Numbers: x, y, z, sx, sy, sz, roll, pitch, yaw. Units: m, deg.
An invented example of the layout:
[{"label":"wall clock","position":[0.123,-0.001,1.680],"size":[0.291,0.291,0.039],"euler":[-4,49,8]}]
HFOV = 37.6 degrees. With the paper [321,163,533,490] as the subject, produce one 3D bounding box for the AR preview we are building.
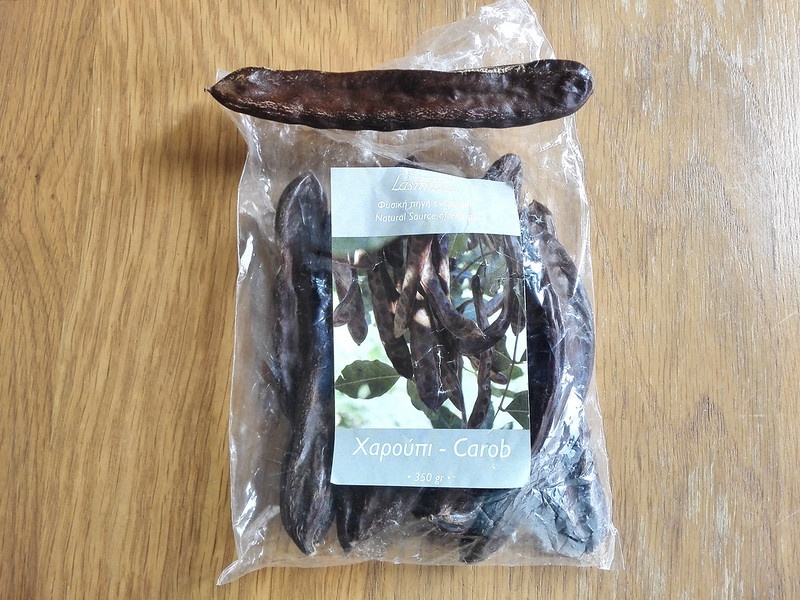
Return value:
[{"label":"paper","position":[0.037,0.035,1.452],"size":[0.241,0.111,0.364],"euler":[1,69,-3]}]
